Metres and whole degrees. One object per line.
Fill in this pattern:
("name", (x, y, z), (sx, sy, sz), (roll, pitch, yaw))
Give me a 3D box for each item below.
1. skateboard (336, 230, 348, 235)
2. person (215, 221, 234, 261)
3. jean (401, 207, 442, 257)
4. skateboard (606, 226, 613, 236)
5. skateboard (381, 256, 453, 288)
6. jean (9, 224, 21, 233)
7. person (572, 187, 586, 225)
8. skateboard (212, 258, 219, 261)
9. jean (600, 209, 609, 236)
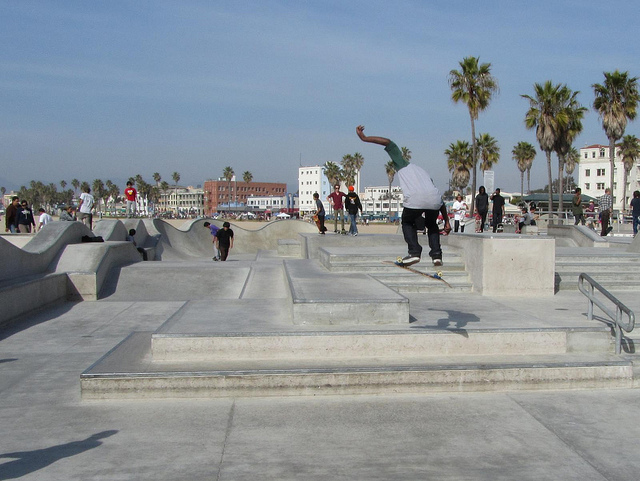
("skateboard", (0.506, -0.226, 18.245), (0.069, 0.126, 0.240), (3, -1, 29))
("person", (-2.920, 0.095, 20.035), (0.545, 1.391, 0.377), (4, 17, -3))
("jean", (1.276, -0.253, 9.048), (0.524, 1.092, 0.335), (1, -10, -6))
("skateboard", (11.297, -0.416, 27.196), (0.167, 0.026, 0.536), (17, -33, 14))
("skateboard", (1.508, 0.586, 11.372), (1.349, 0.168, 0.202), (28, 15, 37))
("jean", (-8.780, -0.380, 19.411), (0.131, 0.287, 0.726), (-12, 19, -36))
("person", (8.233, -1.217, 22.224), (0.299, 1.211, 1.441), (4, 16, 21))
("skateboard", (-3.252, 0.610, 20.452), (0.105, 0.079, 0.166), (3, -13, -26))
("jean", (9.291, -0.669, 22.693), (0.197, 0.982, 0.414), (5, 16, 23))
